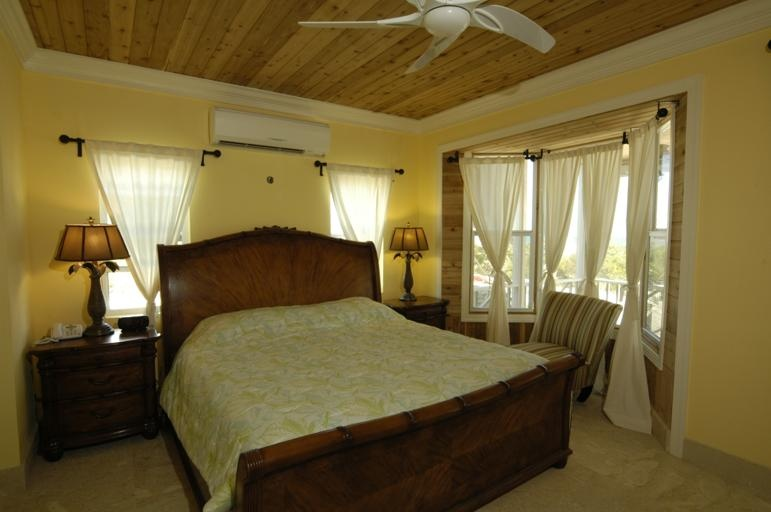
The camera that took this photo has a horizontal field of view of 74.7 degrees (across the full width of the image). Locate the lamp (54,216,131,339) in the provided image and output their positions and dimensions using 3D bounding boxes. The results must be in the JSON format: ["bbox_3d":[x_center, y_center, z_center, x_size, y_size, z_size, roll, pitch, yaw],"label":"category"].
[{"bbox_3d":[-2.656,0.182,4.626,0.571,1.057,0.493,0,7,-23],"label":"lamp"}]

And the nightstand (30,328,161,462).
[{"bbox_3d":[-2.639,1.155,4.693,1.018,0.965,0.679,-7,15,-38],"label":"nightstand"}]

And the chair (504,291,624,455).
[{"bbox_3d":[1.706,0.937,5.193,1.027,1.070,0.886,1,9,-25],"label":"chair"}]

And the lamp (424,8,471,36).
[{"bbox_3d":[0.416,-1.584,3.424,0.319,0.141,0.198,3,6,8],"label":"lamp"}]
